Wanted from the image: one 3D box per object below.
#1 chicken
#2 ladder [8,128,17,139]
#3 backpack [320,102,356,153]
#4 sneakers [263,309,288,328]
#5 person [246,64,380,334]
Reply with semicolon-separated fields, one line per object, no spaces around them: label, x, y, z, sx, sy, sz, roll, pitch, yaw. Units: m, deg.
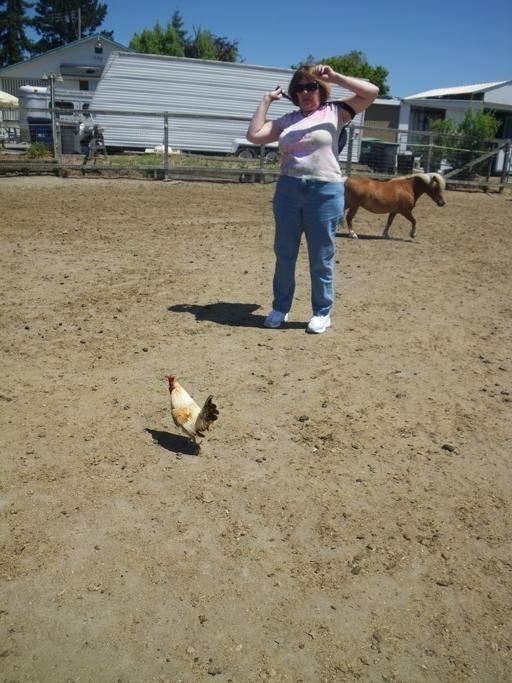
chicken;-0.398;0.420;3.236;0.172;0.366;0.387;-13;26;-38
ladder;-11.632;-9.953;27.055;0.449;0.505;4.189;-4;21;-21
backpack;0.674;-1.677;4.456;0.118;0.367;0.364;4;-1;-4
sneakers;0.167;-0.205;4.966;0.111;0.101;0.230;5;16;15
person;0.393;-1.093;4.587;0.901;2.098;0.439;7;21;8
